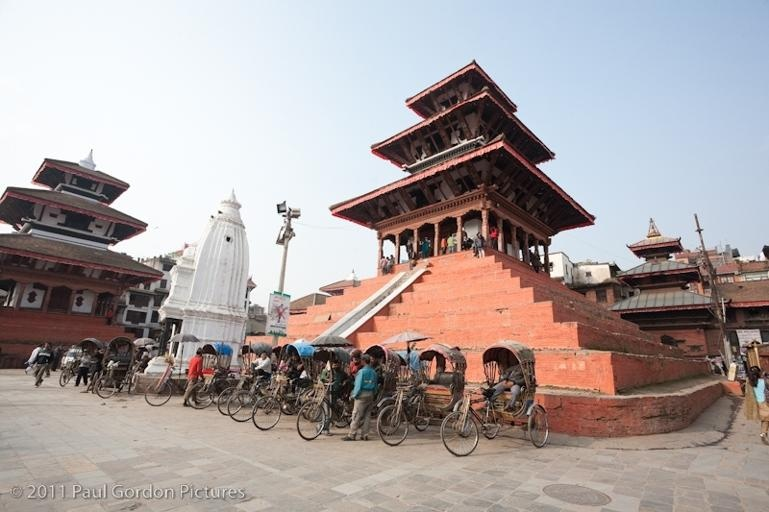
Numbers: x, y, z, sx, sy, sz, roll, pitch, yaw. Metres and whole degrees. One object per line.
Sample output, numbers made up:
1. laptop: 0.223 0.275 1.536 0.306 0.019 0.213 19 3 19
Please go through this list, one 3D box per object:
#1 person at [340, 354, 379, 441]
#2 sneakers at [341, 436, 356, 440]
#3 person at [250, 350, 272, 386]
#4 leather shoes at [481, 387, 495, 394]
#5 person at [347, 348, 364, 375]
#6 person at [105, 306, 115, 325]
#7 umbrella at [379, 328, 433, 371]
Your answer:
1. person: -0.577 3.520 9.773 0.736 2.043 0.812 3 -16 -5
2. sneakers: -0.861 4.420 9.468 0.260 0.092 0.132 6 -23 -5
3. person: -3.970 3.713 12.786 0.560 0.942 0.456 -5 -4 -27
4. leather shoes: 2.478 3.292 9.480 0.251 0.121 0.263 1 -12 1
5. person: -0.836 3.063 11.151 0.656 0.749 0.711 -2 -17 -5
6. person: -20.139 4.455 28.743 0.578 1.348 1.088 12 -19 -32
7. umbrella: 0.853 2.705 11.419 1.086 0.724 1.055 15 -24 -35
